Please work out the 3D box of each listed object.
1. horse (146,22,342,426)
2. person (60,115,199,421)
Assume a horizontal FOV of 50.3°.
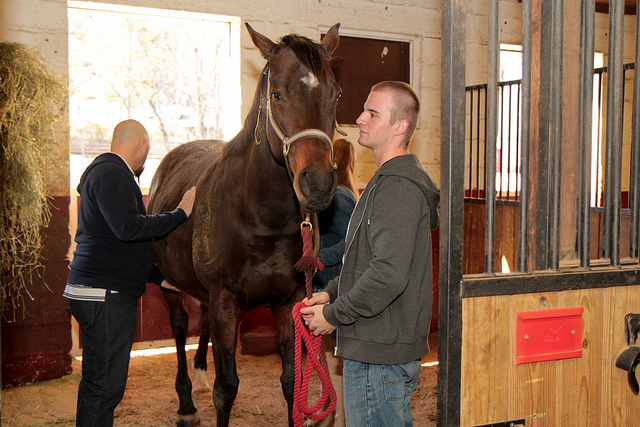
[{"bbox_3d":[-0.531,0.127,4.617,0.778,2.586,1.874,-1,3,-33],"label":"horse"},{"bbox_3d":[-1.411,0.476,4.901,0.758,2.260,1.156,0,2,-16],"label":"person"}]
